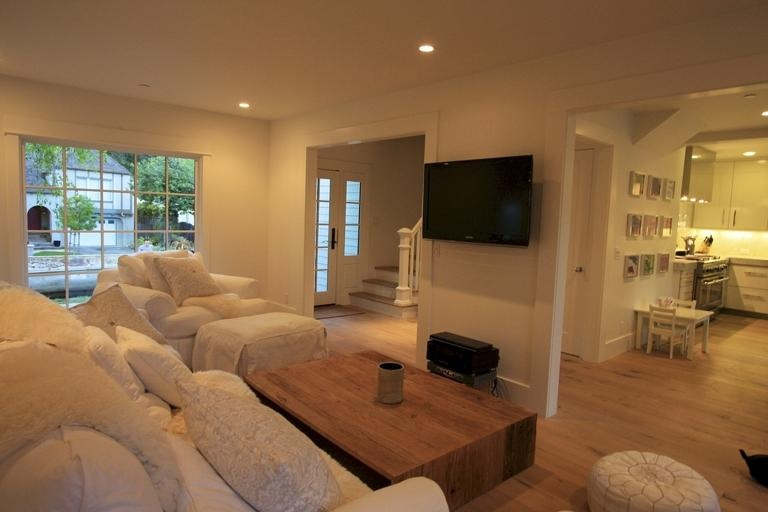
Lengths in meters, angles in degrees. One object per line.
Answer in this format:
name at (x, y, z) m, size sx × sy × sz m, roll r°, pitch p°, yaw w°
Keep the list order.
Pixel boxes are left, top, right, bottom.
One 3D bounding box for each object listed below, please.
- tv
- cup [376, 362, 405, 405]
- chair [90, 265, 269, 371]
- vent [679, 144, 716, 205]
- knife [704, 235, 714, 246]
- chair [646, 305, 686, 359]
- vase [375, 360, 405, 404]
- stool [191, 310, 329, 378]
tv at (0.920, -0.527, 4.823) m, size 0.920 × 0.658 × 0.096 m, roll 4°, pitch 5°, yaw 36°
cup at (0.043, 0.863, 3.521) m, size 0.241 × 0.266 × 0.249 m, roll 1°, pitch 1°, yaw 0°
chair at (-2.075, 0.504, 5.663) m, size 1.652 × 0.783 × 1.648 m, roll 1°, pitch 11°, yaw -2°
vent at (4.950, -1.283, 8.081) m, size 0.985 × 0.839 × 0.339 m, roll 1°, pitch 2°, yaw -32°
knife at (5.712, -0.278, 9.026) m, size 0.129 × 0.171 × 0.081 m, roll 0°, pitch -16°, yaw 26°
chair at (3.425, 0.860, 6.335) m, size 0.448 × 0.639 × 0.378 m, roll -16°, pitch -9°, yaw 34°
vase at (0.042, 0.869, 3.575) m, size 0.242 × 0.264 × 0.247 m, roll 1°, pitch 2°, yaw -1°
stool at (-1.217, 0.738, 4.790) m, size 0.793 × 0.379 × 0.658 m, roll -2°, pitch 4°, yaw -38°
